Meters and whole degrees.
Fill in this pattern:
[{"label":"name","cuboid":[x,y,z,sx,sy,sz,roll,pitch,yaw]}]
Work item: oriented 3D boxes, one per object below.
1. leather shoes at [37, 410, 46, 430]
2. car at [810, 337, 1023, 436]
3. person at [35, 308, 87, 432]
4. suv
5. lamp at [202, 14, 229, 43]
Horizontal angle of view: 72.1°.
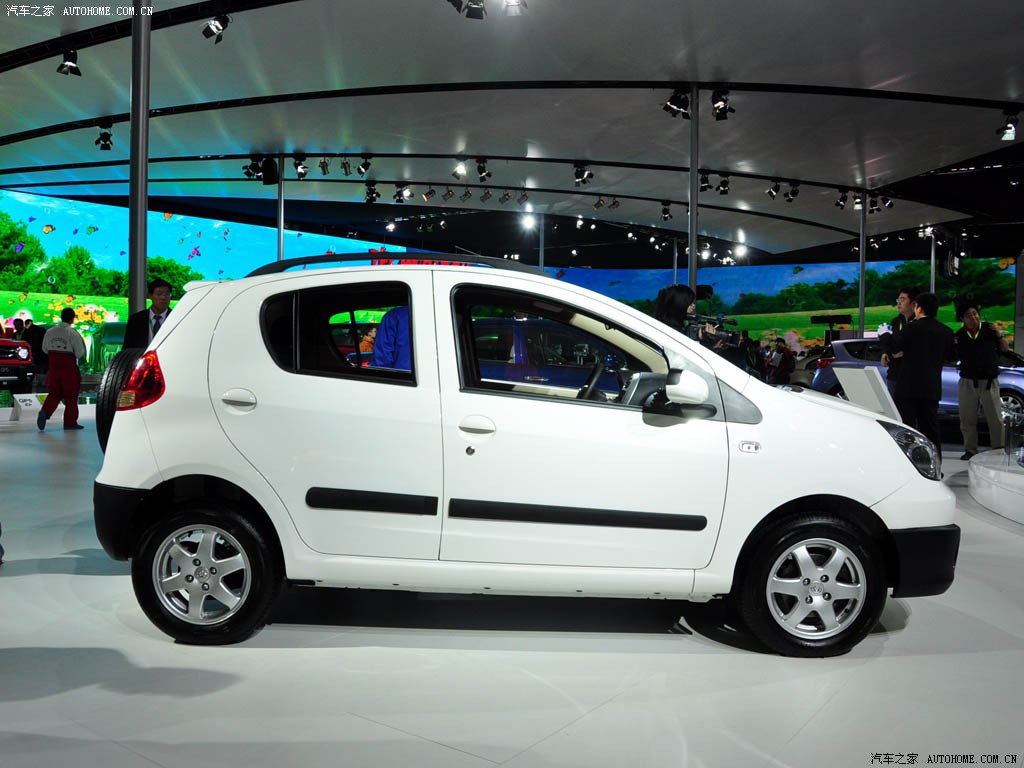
[{"label":"leather shoes","cuboid":[-7.312,0.560,10.999,0.151,0.301,0.116,3,-14,-27]},{"label":"car","cuboid":[5.825,-0.179,10.290,3.014,1.478,1.840,-3,0,22]},{"label":"person","cuboid":[-7.280,-0.265,11.386,0.675,1.945,1.218,-4,7,-34]},{"label":"suv","cuboid":[0.132,0.395,4.225,3.817,1.698,2.119,-1,-2,-3]},{"label":"lamp","cuboid":[-3.579,-4.348,8.536,0.141,0.237,0.247,15,42,23]}]
